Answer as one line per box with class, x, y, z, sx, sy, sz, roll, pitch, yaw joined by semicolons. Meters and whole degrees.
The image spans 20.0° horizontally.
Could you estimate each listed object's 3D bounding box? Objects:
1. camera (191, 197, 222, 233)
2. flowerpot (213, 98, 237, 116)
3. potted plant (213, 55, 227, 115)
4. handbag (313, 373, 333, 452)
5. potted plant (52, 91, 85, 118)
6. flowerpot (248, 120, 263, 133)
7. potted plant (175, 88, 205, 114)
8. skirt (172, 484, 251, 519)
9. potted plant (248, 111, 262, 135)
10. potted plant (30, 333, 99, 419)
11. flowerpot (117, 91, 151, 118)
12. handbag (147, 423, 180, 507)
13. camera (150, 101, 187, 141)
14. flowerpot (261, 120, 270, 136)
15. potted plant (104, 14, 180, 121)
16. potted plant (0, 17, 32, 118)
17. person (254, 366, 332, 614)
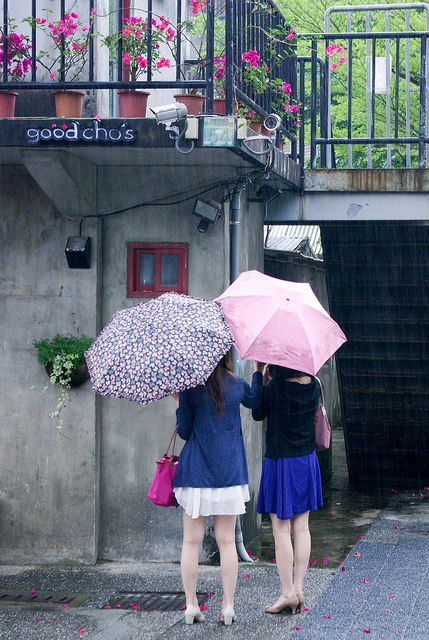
camera;-0.052;-0.768;8.759;0.116;0.182;0.103;30;26;10
flowerpot;0.035;-1.462;8.348;0.088;0.091;0.106;1;13;1
potted plant;0.055;-1.633;8.722;0.109;0.431;0.119;3;16;8
handbag;0.669;0.611;7.676;0.123;0.420;0.254;-2;-1;6
potted plant;-0.988;-1.439;8.257;0.147;0.154;0.177;0;-5;-5
flowerpot;0.289;-1.453;8.981;0.100;0.106;0.119;1;8;2
potted plant;-0.168;-1.466;8.208;0.198;0.103;0.179;-2;2;-2
skirt;-0.014;1.065;7.171;0.451;0.191;0.163;-2;1;-11
potted plant;0.296;-1.478;9.111;0.148;0.149;0.161;0;-1;-29
potted plant;-1.041;0.367;8.836;0.313;0.503;0.423;8;0;33
flowerpot;-0.555;-1.459;8.226;0.166;0.159;0.172;8;9;39
handbag;-0.274;0.833;7.263;0.120;0.535;0.254;12;2;7
camera;-0.293;-1.278;7.816;0.225;0.157;0.151;-2;1;-3
flowerpot;0.373;-1.433;9.115;0.062;0.088;0.129;2;-28;4
potted plant;-0.521;-1.722;8.489;0.320;0.713;0.398;11;5;27
potted plant;-1.417;-1.817;8.666;0.234;0.575;0.909;-1;1;-9
person;0.474;1.020;7.397;0.476;1.488;0.312;-1;1;-10
